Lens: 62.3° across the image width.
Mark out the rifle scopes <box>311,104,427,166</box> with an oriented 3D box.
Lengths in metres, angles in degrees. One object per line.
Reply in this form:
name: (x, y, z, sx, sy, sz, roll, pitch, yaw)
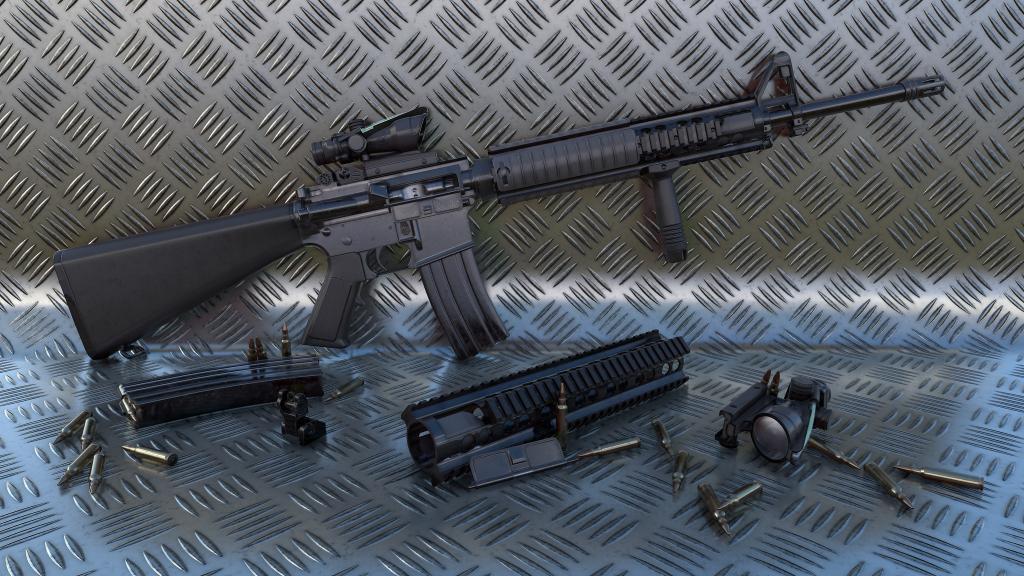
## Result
rifle scopes: (-0.979, -0.998, 5.895, 0.850, 0.345, 0.216, -10, 13, 10)
